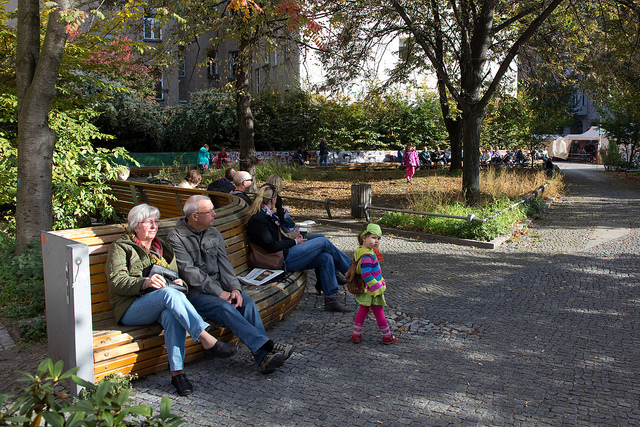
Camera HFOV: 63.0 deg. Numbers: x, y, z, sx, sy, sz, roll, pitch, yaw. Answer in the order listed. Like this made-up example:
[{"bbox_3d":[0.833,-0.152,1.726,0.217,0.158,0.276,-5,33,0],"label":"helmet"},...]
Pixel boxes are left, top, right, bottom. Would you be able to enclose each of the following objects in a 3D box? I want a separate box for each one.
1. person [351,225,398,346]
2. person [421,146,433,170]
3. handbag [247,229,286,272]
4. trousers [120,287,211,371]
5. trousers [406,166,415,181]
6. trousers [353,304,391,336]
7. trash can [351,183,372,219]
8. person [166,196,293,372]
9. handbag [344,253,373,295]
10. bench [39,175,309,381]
[{"bbox_3d":[0.760,0.986,7.428,0.627,1.671,0.551,0,5,3],"label":"person"},{"bbox_3d":[6.631,-3.423,32.428,0.688,1.416,3.528,0,5,12],"label":"person"},{"bbox_3d":[-0.790,0.562,8.219,0.580,0.706,0.371,5,11,-1],"label":"handbag"},{"bbox_3d":[-2.076,1.216,6.514,0.660,0.610,1.175,-20,12,-42],"label":"trousers"},{"bbox_3d":[4.175,-1.854,24.276,0.263,0.245,0.779,3,28,35],"label":"trousers"},{"bbox_3d":[0.745,1.551,7.494,0.404,0.722,0.187,1,39,9],"label":"trousers"},{"bbox_3d":[1.178,-0.335,14.603,0.479,0.934,0.375,-1,5,-8],"label":"trash can"},{"bbox_3d":[-1.121,0.842,6.771,0.770,1.533,2.278,-14,35,-44],"label":"person"},{"bbox_3d":[0.541,0.848,7.277,0.380,0.604,0.142,2,6,33],"label":"handbag"},{"bbox_3d":[-1.696,0.785,7.590,1.562,2.098,4.085,15,15,38],"label":"bench"}]
